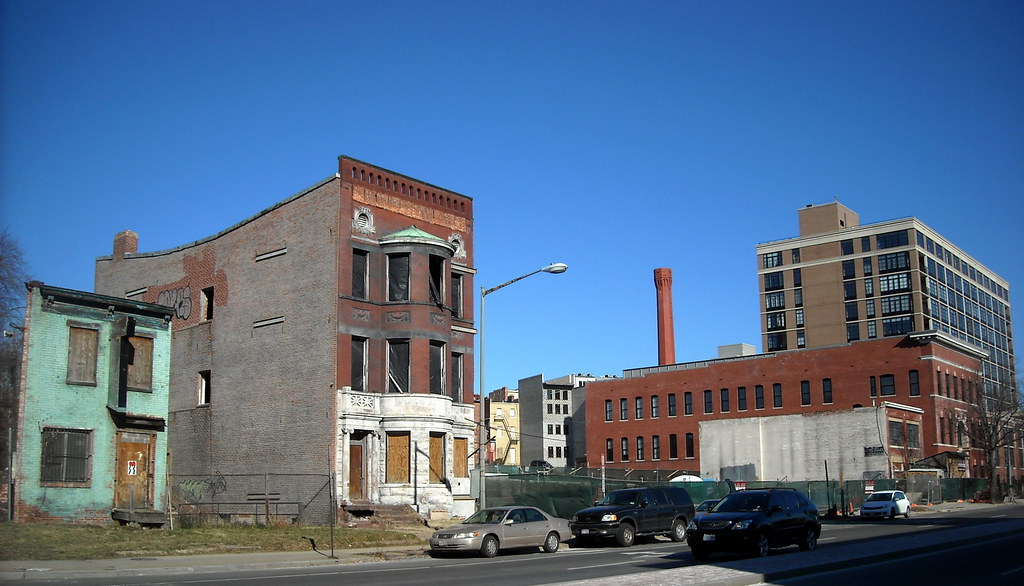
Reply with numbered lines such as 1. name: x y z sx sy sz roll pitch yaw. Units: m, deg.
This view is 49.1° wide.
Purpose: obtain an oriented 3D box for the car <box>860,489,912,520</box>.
1. car: 29.583 16.856 89.441 3.942 2.356 2.242 14 -22 -40
